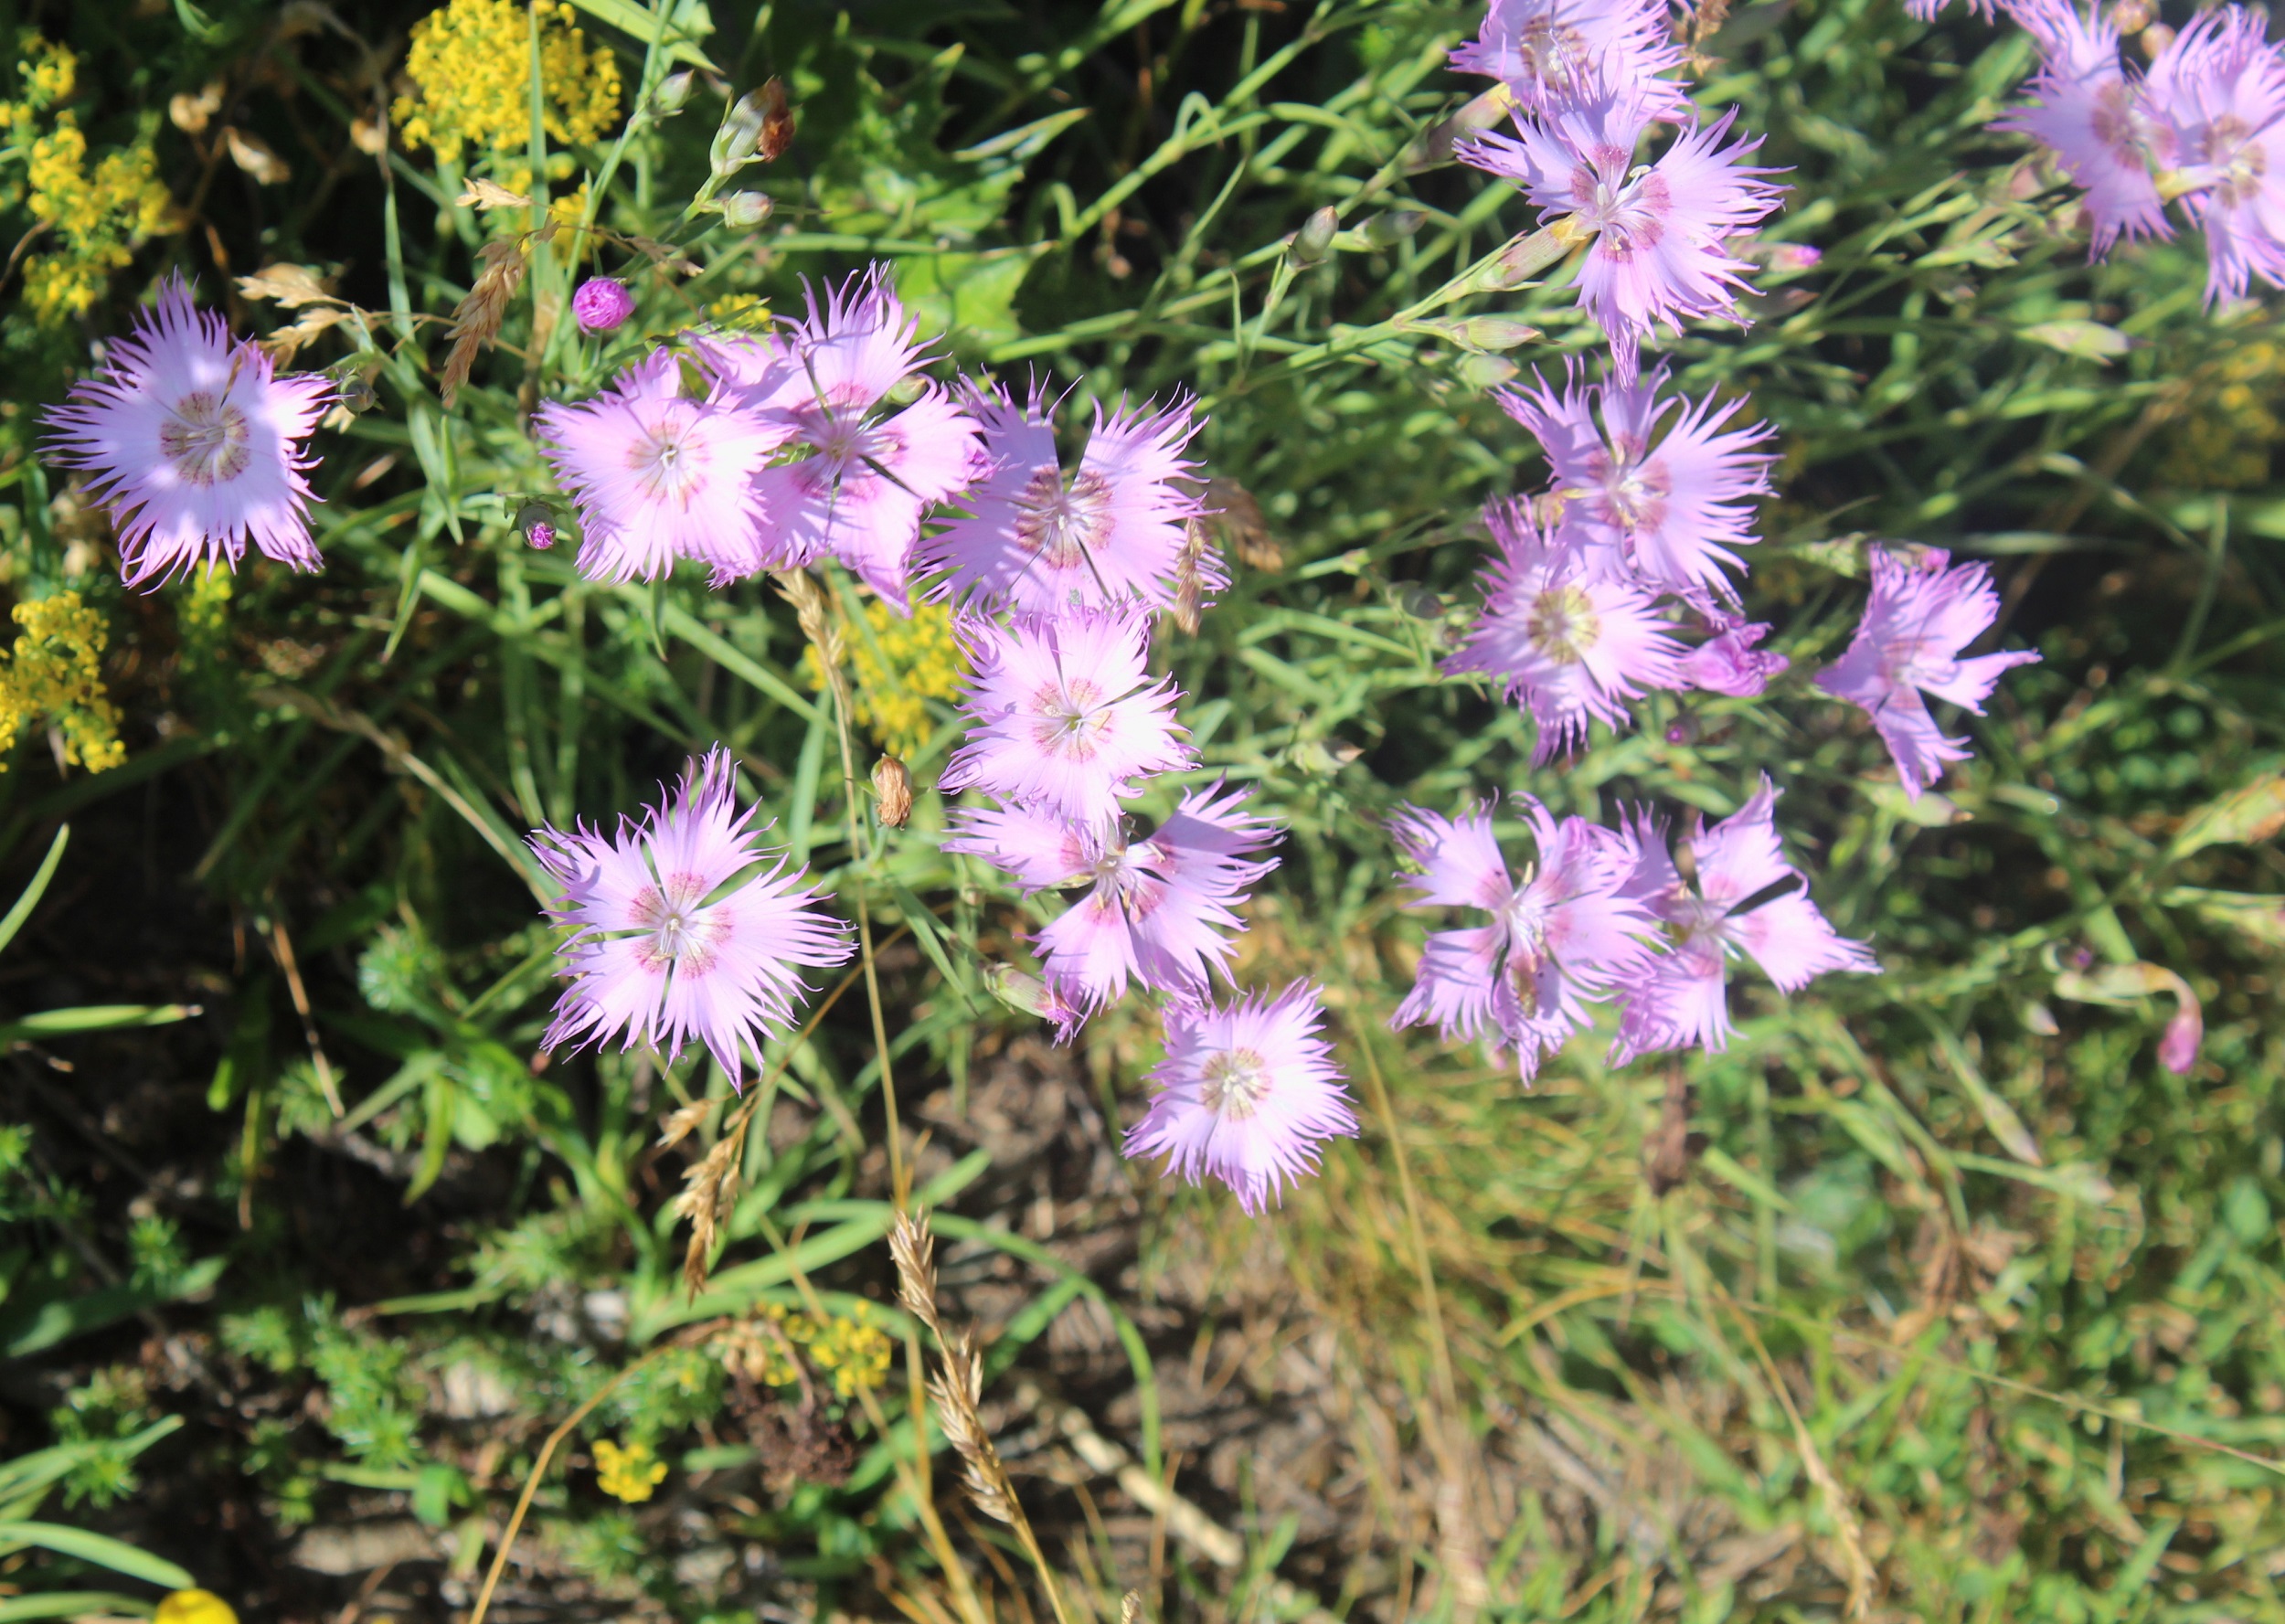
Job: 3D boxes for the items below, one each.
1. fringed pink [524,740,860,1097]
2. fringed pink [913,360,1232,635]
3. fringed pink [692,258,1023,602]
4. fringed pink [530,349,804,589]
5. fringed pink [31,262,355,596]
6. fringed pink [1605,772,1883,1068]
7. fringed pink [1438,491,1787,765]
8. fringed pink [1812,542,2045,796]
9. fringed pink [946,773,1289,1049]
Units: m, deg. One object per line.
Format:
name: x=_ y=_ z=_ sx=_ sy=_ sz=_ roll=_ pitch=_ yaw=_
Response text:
fringed pink: x=-0.590 y=0.143 z=3.016 sx=0.413 sy=0.131 sz=0.463 roll=-19 pitch=86 yaw=2
fringed pink: x=-0.114 y=-0.469 z=3.072 sx=0.314 sy=0.341 sz=0.097 roll=0 pitch=79 yaw=-10
fringed pink: x=-0.412 y=-0.514 z=3.028 sx=0.373 sy=0.420 sz=0.105 roll=5 pitch=62 yaw=-32
fringed pink: x=-0.624 y=-0.442 z=2.965 sx=0.325 sy=0.213 sz=0.231 roll=13 pitch=51 yaw=9
fringed pink: x=-1.224 y=-0.447 z=3.017 sx=0.381 sy=0.365 sz=0.262 roll=25 pitch=53 yaw=19
fringed pink: x=0.783 y=0.137 z=3.173 sx=0.376 sy=0.445 sz=0.144 roll=-39 pitch=96 yaw=-10
fringed pink: x=0.583 y=-0.246 z=3.084 sx=0.335 sy=0.162 sz=0.388 roll=-10 pitch=93 yaw=-8
fringed pink: x=1.058 y=-0.229 z=3.245 sx=0.311 sy=0.136 sz=0.316 roll=36 pitch=96 yaw=-5
fringed pink: x=-0.016 y=0.101 z=3.039 sx=0.337 sy=0.123 sz=0.370 roll=23 pitch=88 yaw=-8
